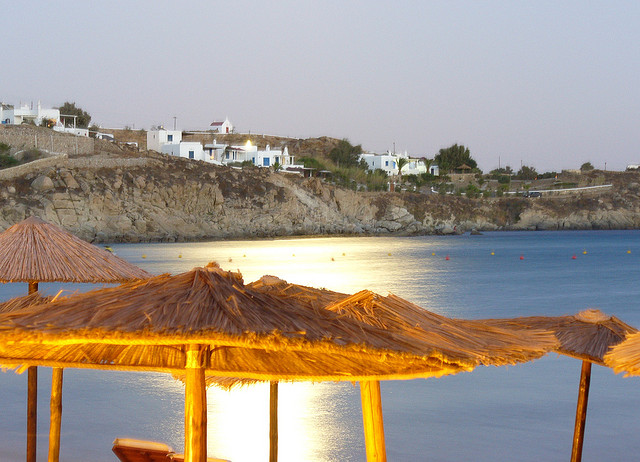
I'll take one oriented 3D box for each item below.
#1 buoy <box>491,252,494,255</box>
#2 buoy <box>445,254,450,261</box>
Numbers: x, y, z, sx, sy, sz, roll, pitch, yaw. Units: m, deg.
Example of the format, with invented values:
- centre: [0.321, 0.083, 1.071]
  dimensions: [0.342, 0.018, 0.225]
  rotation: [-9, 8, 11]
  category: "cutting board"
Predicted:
- centre: [13.147, 1.701, 77.089]
  dimensions: [0.185, 0.214, 0.196]
  rotation: [-1, -8, -2]
  category: "buoy"
- centre: [8.937, 1.849, 70.901]
  dimensions: [0.255, 0.307, 0.270]
  rotation: [1, -7, 2]
  category: "buoy"
